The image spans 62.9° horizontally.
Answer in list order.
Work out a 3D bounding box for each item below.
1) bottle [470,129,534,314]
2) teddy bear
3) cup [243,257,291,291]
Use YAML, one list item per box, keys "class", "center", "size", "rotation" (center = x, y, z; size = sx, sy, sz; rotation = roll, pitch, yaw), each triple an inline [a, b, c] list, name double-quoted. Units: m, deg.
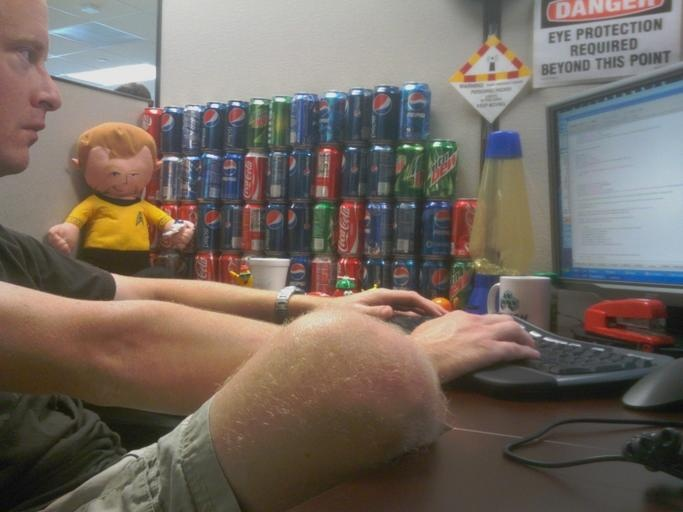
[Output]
- class: "bottle"
  center: [0.338, -0.079, 1.319]
  size: [0.130, 0.462, 0.163]
  rotation: [4, 7, 9]
- class: "teddy bear"
  center: [-0.775, -0.157, 1.891]
  size: [0.357, 0.542, 0.403]
  rotation: [12, 12, 41]
- class: "cup"
  center: [-0.205, 0.053, 1.571]
  size: [0.096, 0.078, 0.091]
  rotation: [0, -3, 0]
